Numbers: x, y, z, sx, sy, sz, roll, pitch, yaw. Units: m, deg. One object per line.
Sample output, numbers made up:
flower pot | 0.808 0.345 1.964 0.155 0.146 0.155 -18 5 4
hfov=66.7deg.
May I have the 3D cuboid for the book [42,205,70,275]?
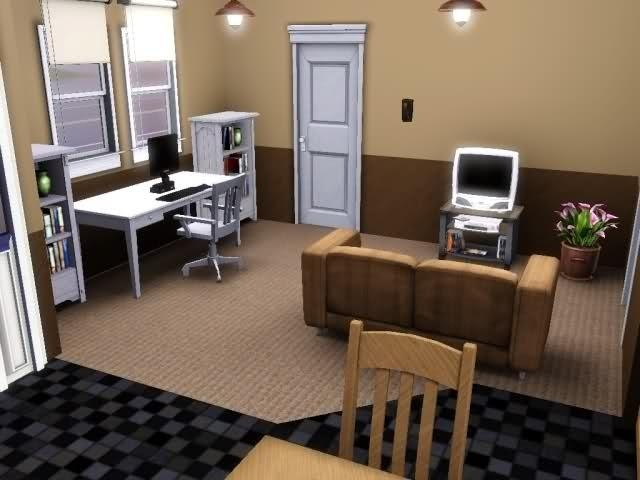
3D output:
book | -2.572 -0.006 4.756 0.174 0.644 0.228 16 24 41
